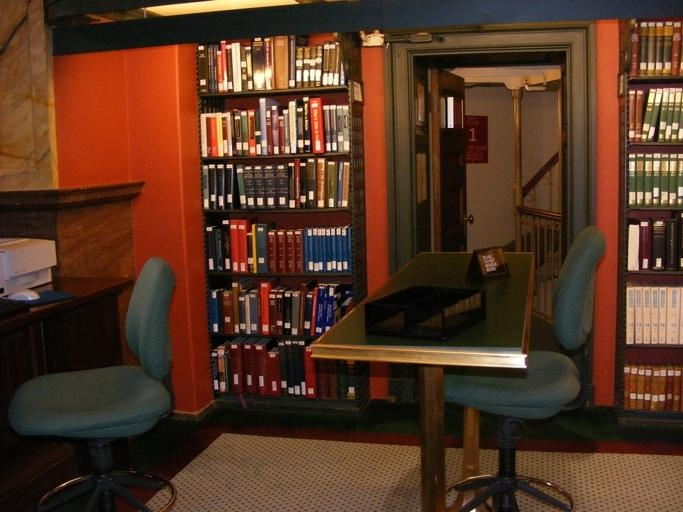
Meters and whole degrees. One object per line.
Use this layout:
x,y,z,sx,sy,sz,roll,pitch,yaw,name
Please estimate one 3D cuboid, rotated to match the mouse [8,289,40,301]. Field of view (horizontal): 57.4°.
-1.544,0.188,3.050,0.115,0.038,0.068,5,6,10,mouse
